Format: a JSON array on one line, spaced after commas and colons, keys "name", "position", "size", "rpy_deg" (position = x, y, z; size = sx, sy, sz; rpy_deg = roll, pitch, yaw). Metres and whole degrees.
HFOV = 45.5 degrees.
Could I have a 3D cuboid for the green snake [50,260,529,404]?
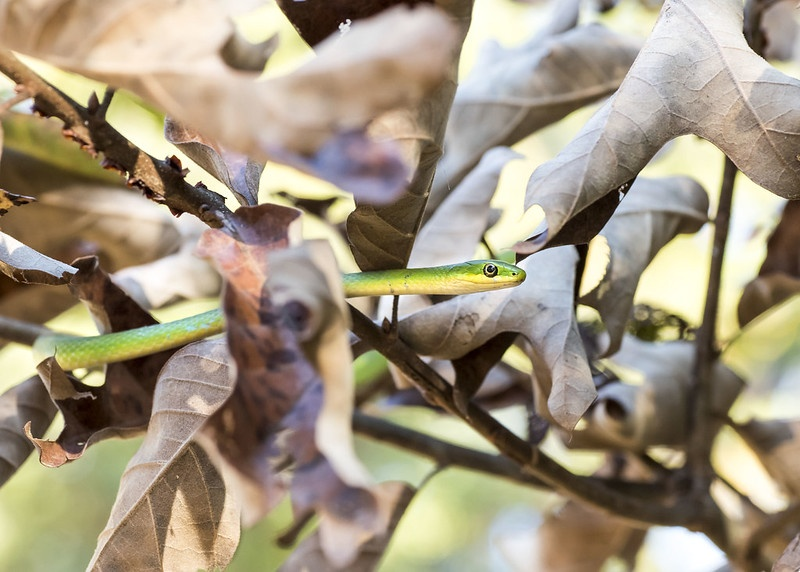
[{"name": "green snake", "position": [-0.320, 0.146, 3.028], "size": [1.833, 0.204, 0.274], "rpy_deg": [-8, 20, 0]}]
